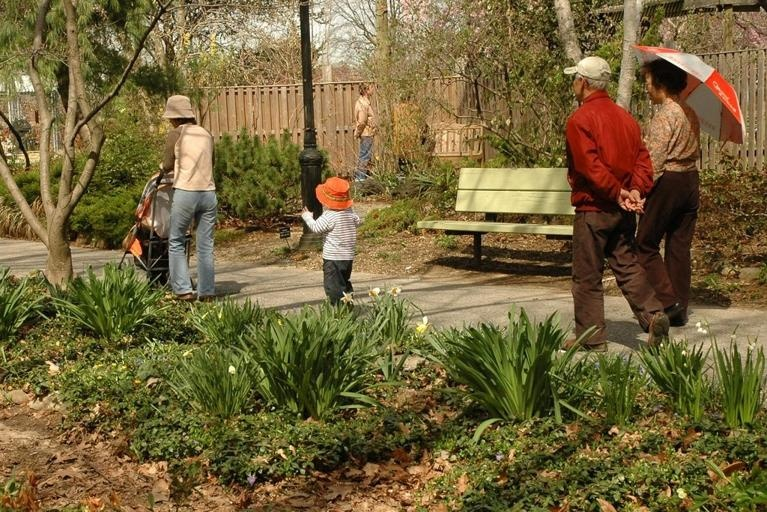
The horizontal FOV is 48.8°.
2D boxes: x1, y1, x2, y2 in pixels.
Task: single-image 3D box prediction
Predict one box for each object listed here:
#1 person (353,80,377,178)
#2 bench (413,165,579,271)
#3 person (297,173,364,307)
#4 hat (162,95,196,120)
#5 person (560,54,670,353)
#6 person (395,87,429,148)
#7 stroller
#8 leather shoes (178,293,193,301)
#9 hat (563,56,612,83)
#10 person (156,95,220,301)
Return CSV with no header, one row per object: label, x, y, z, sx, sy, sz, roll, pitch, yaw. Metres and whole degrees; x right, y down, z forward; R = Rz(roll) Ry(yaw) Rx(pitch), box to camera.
person,-0.419,-2.790,18.965,0.479,2.103,1.369,-3,9,0
bench,1.938,-0.623,12.539,2.037,1.330,1.787,3,12,36
person,-0.538,-0.157,9.106,0.425,1.326,0.420,2,10,30
hat,-2.507,-1.797,10.330,0.326,0.211,0.309,-2,9,-5
person,2.238,-0.524,8.230,0.873,2.797,0.789,-1,9,12
person,0.618,-2.776,17.268,0.645,1.136,0.309,-15,-9,29
stroller,-3.068,-0.446,11.015,1.135,1.873,1.307,-6,20,-35
leather shoes,-2.390,0.498,10.216,0.174,0.078,0.077,-5,1,32
hat,2.000,-1.833,8.382,0.397,0.176,0.269,14,24,37
person,-2.374,-0.671,10.301,0.632,2.532,0.816,-4,9,-3
